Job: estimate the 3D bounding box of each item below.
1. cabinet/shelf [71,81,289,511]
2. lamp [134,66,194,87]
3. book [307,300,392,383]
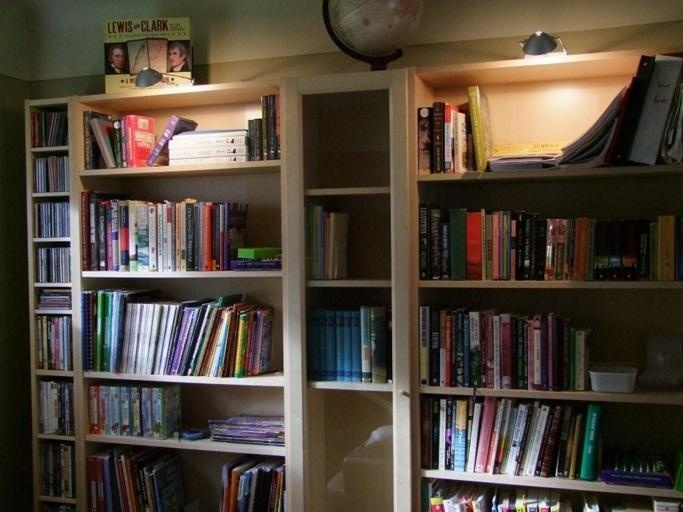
[{"bbox_3d":[-0.749,0.273,3.289,1.290,2.264,0.334,2,2,13],"label":"cabinet/shelf"},{"bbox_3d":[-0.897,-0.894,3.203,0.141,0.115,0.288,3,3,41],"label":"lamp"},{"bbox_3d":[0.062,0.372,3.159,0.447,0.427,0.327,0,2,17],"label":"book"}]
